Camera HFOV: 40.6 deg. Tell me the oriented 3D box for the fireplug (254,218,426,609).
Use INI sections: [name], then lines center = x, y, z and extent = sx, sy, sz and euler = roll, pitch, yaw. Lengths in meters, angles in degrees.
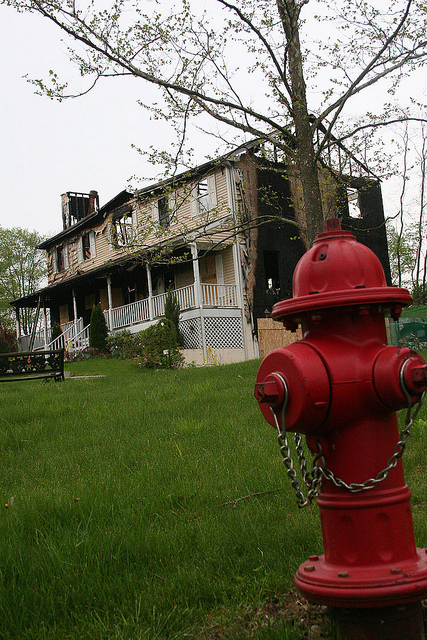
[fireplug]
center = 0.411, 0.243, 1.813
extent = 0.551, 1.206, 0.501
euler = 0, -2, 4
